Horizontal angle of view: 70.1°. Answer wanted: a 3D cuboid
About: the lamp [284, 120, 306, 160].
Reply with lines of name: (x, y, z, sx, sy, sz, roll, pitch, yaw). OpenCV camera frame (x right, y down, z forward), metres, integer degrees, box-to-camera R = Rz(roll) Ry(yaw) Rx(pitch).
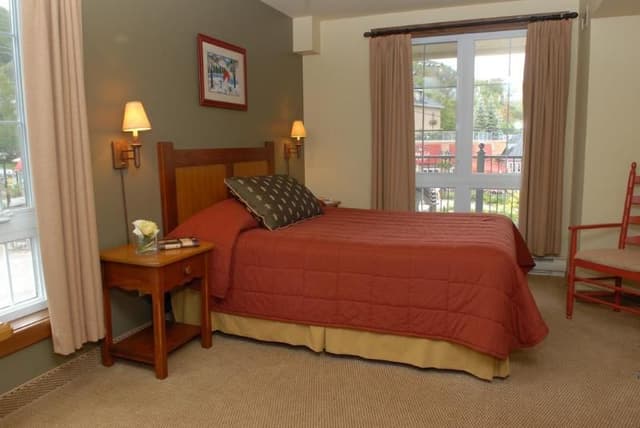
lamp: (-0.336, -0.989, 6.225, 0.281, 0.487, 0.210, 1, 7, 12)

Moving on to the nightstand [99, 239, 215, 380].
nightstand: (-1.354, 0.846, 4.332, 0.974, 1.345, 1.010, 1, 3, 24)

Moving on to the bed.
bed: (0.430, 0.182, 4.626, 3.459, 1.880, 2.532, 5, 13, 28)

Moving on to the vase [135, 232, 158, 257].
vase: (-1.415, 0.241, 3.767, 0.223, 0.177, 0.167, -3, 5, -14)

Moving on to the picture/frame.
picture/frame: (-1.098, -1.576, 5.026, 0.039, 0.892, 0.976, 2, 1, 27)

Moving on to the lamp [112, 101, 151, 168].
lamp: (-1.685, -0.687, 4.039, 0.306, 0.608, 0.289, -11, 15, -39)

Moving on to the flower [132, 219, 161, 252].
flower: (-1.399, 0.190, 3.836, 0.217, 0.263, 0.215, 0, 2, 25)
